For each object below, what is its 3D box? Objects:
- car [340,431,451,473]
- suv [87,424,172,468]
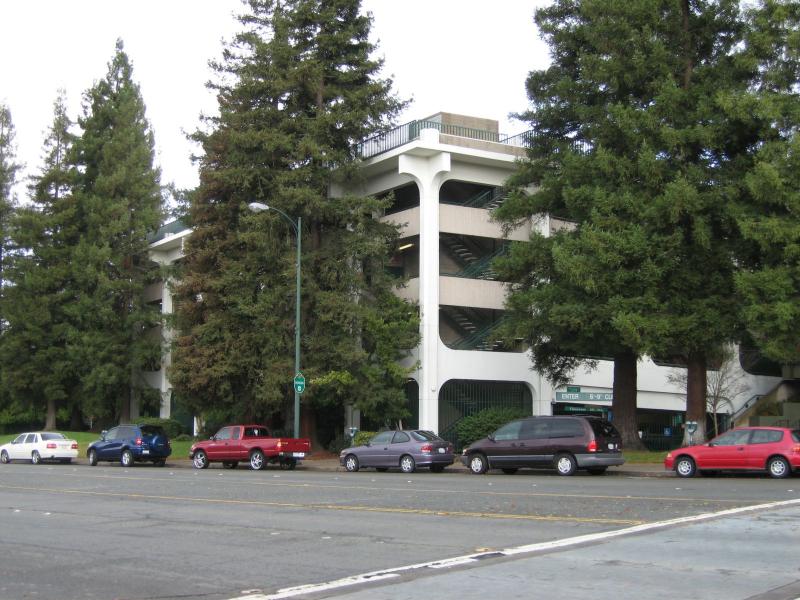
[{"bbox_3d":[-0.220,6.173,47.346,4.781,1.939,2.253,-5,-7,35],"label":"car"},{"bbox_3d":[-12.528,6.753,53.657,3.527,1.734,1.846,0,-6,44],"label":"suv"}]
